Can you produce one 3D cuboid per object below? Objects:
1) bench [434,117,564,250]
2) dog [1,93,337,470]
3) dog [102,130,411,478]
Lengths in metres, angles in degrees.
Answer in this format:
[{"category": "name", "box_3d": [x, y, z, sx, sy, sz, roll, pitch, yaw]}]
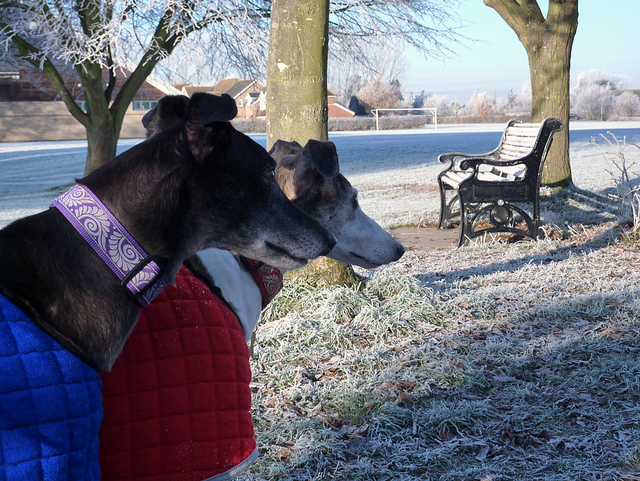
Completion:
[{"category": "bench", "box_3d": [2.609, -0.889, 10.780, 1.313, 1.746, 2.650, -1, 7, 4]}, {"category": "dog", "box_3d": [-0.985, -0.039, 4.458, 2.465, 1.562, 0.936, -13, 15, -15]}, {"category": "dog", "box_3d": [-0.458, 0.316, 5.415, 2.804, 2.257, 1.279, -12, 23, -33]}]
